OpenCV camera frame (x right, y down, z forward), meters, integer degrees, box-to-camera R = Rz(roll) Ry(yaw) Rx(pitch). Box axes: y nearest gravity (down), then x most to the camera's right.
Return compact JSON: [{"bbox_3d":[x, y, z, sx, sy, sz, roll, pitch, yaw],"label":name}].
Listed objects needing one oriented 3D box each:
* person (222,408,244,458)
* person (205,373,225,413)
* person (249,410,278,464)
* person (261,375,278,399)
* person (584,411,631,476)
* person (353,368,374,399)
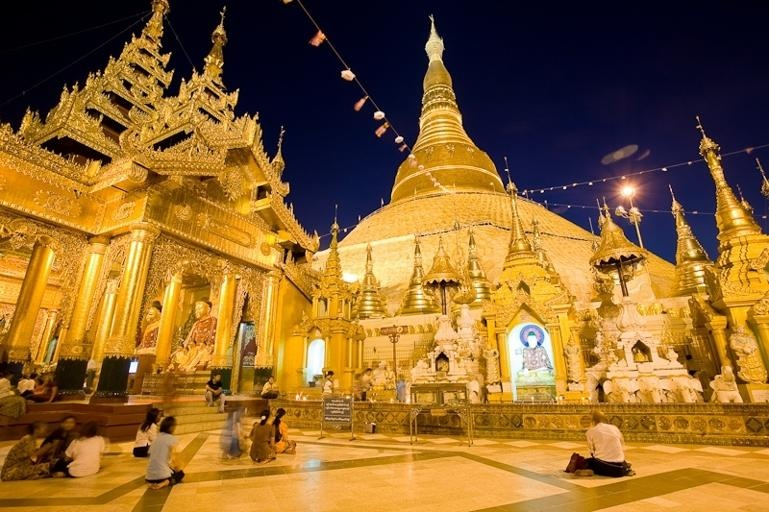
[{"bbox_3d":[-3.186,3.708,9.415,0.431,1.003,0.290,0,-1,-8],"label":"person"},{"bbox_3d":[-4.975,4.085,13.232,0.484,1.016,0.695,0,-1,-17],"label":"person"},{"bbox_3d":[-2.489,3.691,9.268,0.475,0.952,0.521,-1,-1,23],"label":"person"},{"bbox_3d":[-3.864,4.393,14.956,0.527,0.682,0.583,16,-41,-26],"label":"person"},{"bbox_3d":[4.197,3.574,8.543,0.966,1.002,0.752,-4,-22,16],"label":"person"},{"bbox_3d":[-0.701,4.343,15.032,0.610,1.007,0.880,0,-1,-3],"label":"person"}]
